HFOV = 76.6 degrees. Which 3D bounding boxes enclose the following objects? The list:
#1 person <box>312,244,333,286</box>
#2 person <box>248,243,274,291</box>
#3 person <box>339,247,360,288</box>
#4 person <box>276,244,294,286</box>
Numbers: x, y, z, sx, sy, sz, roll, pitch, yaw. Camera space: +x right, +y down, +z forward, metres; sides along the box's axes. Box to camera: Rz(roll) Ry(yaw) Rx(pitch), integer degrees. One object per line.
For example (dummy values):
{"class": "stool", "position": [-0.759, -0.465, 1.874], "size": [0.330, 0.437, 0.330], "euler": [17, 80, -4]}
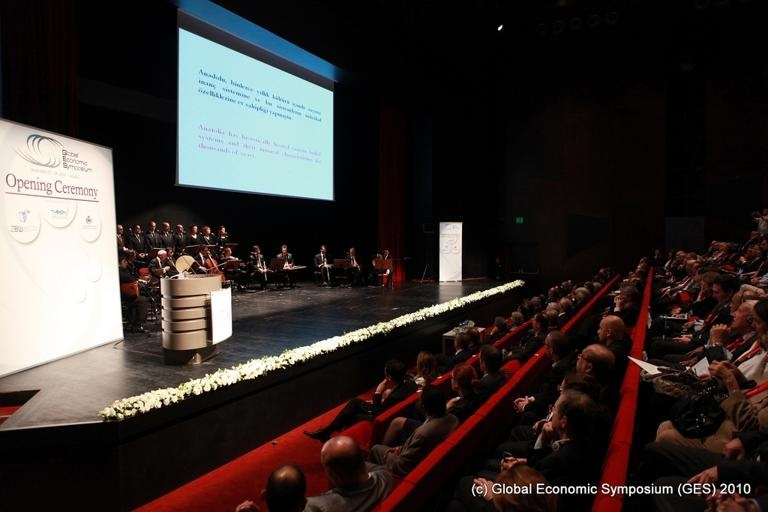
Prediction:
{"class": "person", "position": [-1.978, 0.294, 15.862], "size": [0.533, 1.267, 0.718], "euler": [-4, 1, -7]}
{"class": "person", "position": [-3.642, 0.291, 14.289], "size": [0.616, 1.280, 1.130], "euler": [-4, 1, -16]}
{"class": "person", "position": [-1.035, 0.324, 15.762], "size": [0.570, 1.201, 2.016], "euler": [-4, 1, -5]}
{"class": "person", "position": [-2.981, 0.276, 14.714], "size": [0.456, 1.281, 1.659], "euler": [-4, 1, -10]}
